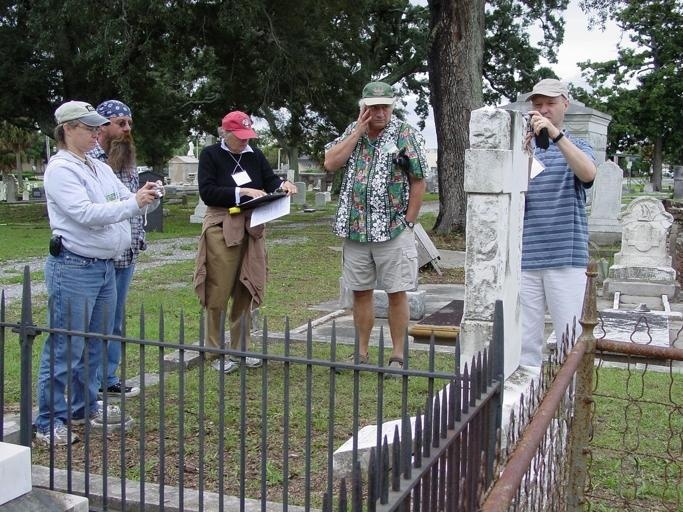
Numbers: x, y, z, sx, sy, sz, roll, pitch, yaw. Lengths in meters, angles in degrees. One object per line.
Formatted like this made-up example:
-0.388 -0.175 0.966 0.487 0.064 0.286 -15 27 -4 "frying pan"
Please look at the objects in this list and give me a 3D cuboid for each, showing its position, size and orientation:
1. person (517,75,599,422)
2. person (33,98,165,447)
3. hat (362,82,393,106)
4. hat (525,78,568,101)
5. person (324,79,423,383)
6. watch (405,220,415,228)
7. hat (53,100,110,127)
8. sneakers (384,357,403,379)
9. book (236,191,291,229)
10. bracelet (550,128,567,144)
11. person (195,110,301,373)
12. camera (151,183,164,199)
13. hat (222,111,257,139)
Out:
1.614 -0.226 5.873 0.554 2.184 0.541 1 4 24 "person"
-1.747 0.125 5.429 0.856 2.372 1.286 -2 4 -14 "person"
0.295 -1.327 6.451 0.276 0.217 0.279 -1 4 2 "hat"
1.523 -1.241 5.796 0.288 0.162 0.307 0 4 17 "hat"
0.300 -0.265 6.535 0.831 2.319 0.462 0 4 6 "person"
0.570 -0.258 6.511 0.049 0.028 0.064 1 24 -47 "watch"
-1.814 -0.983 5.437 0.276 0.144 0.178 -4 15 -10 "hat"
0.433 0.883 6.257 0.181 0.225 0.494 0 -9 4 "sneakers"
-0.642 -0.378 6.521 0.435 0.295 0.428 -1 4 -8 "book"
1.583 -0.869 5.675 0.040 0.101 0.102 42 3 -1 "bracelet"
-0.880 -0.118 6.684 0.757 2.239 1.220 -2 4 -10 "person"
-1.302 -0.460 5.542 0.085 0.121 0.050 -7 -3 16 "camera"
-0.854 -1.104 6.649 0.301 0.244 0.219 -3 5 -28 "hat"
